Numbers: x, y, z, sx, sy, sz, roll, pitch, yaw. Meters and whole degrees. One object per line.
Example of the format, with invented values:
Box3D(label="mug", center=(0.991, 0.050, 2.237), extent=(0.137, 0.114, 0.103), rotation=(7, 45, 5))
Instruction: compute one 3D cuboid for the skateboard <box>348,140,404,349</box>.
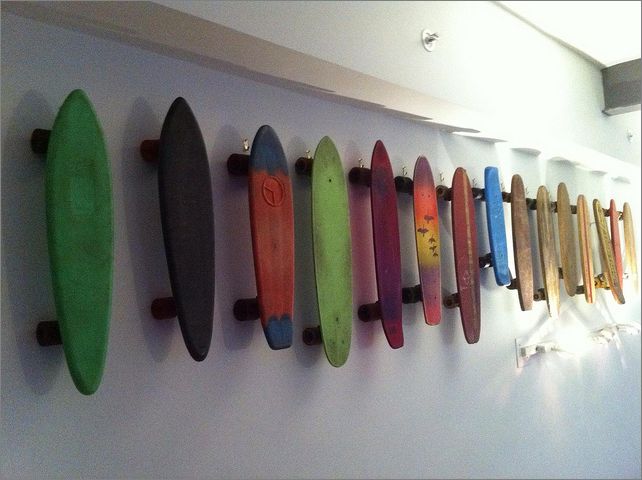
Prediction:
Box3D(label="skateboard", center=(0.272, 0.011, 3.016), extent=(0.237, 1.009, 0.223), rotation=(-2, 3, 5))

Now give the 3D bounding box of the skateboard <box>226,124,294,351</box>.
Box3D(label="skateboard", center=(-0.300, -0.003, 2.766), extent=(0.332, 0.946, 0.142), rotation=(-1, -6, -43))

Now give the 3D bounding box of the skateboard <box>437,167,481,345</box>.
Box3D(label="skateboard", center=(0.753, 0.060, 3.439), extent=(0.207, 1.022, 0.137), rotation=(-2, -5, -35))

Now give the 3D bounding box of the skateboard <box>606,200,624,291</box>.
Box3D(label="skateboard", center=(2.413, 0.097, 4.926), extent=(0.102, 1.042, 0.081), rotation=(-3, 38, 28))

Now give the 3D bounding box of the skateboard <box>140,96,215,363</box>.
Box3D(label="skateboard", center=(-0.535, -0.058, 2.483), extent=(0.164, 1.064, 0.204), rotation=(-1, 3, 28))

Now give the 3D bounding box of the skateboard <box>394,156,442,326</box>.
Box3D(label="skateboard", center=(0.501, -0.014, 3.249), extent=(0.223, 0.961, 0.120), rotation=(-1, -3, -42))

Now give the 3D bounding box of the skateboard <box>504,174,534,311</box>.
Box3D(label="skateboard", center=(1.197, -0.054, 3.764), extent=(0.119, 0.954, 0.036), rotation=(2, -12, -30))

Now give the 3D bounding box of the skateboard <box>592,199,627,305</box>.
Box3D(label="skateboard", center=(2.158, 0.073, 4.588), extent=(0.150, 1.197, 0.083), rotation=(4, -13, -39))

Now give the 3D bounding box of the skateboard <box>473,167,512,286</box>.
Box3D(label="skateboard", center=(0.984, -0.066, 3.606), extent=(0.184, 0.788, 0.115), rotation=(-2, -4, -43))

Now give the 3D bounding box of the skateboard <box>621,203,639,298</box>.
Box3D(label="skateboard", center=(2.566, 0.041, 5.079), extent=(0.123, 0.901, 0.057), rotation=(-2, 1, -24))

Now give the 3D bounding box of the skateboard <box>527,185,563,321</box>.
Box3D(label="skateboard", center=(1.455, 0.078, 3.970), extent=(0.146, 1.072, 0.043), rotation=(4, -12, -24))

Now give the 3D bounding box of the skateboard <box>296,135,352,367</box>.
Box3D(label="skateboard", center=(-0.022, 0.017, 2.918), extent=(0.242, 1.139, 0.137), rotation=(-1, -6, -42))

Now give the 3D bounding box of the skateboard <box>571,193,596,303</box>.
Box3D(label="skateboard", center=(1.851, -0.049, 4.366), extent=(0.115, 0.962, 0.038), rotation=(3, -10, -37))

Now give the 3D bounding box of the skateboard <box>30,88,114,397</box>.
Box3D(label="skateboard", center=(-0.974, -0.053, 2.403), extent=(0.273, 1.256, 0.168), rotation=(-1, -4, -43))
